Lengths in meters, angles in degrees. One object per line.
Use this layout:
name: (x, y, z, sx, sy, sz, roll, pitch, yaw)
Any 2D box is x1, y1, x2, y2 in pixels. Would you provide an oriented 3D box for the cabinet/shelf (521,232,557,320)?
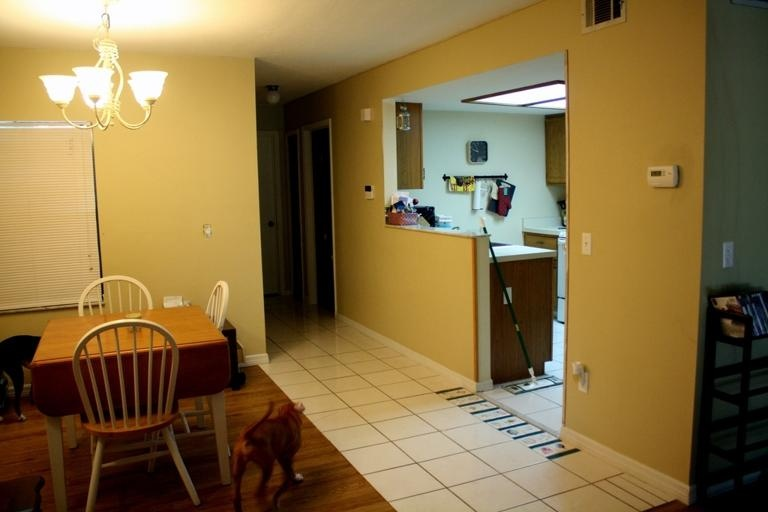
cabinet/shelf: (1.938, 0.181, 7.130, 0.422, 0.990, 0.448, -2, 12, -20)

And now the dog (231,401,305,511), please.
dog: (-0.730, 1.184, 3.671, 0.496, 0.693, 0.491, 1, 9, -11)

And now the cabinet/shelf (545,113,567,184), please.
cabinet/shelf: (2.207, -1.372, 7.273, 0.124, 0.903, 0.394, -5, 14, -15)

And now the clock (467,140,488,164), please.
clock: (1.151, -1.301, 6.995, 0.294, 0.281, 0.099, -3, 4, -24)

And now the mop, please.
mop: (1.176, 0.490, 5.222, 0.577, 1.456, 0.487, -20, -14, 22)

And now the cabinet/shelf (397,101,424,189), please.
cabinet/shelf: (0.279, -1.209, 6.160, 0.239, 0.923, 0.557, 4, 15, 21)

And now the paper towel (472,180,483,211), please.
paper towel: (1.197, -0.757, 7.107, 0.194, 0.377, 0.076, -11, 17, -35)
